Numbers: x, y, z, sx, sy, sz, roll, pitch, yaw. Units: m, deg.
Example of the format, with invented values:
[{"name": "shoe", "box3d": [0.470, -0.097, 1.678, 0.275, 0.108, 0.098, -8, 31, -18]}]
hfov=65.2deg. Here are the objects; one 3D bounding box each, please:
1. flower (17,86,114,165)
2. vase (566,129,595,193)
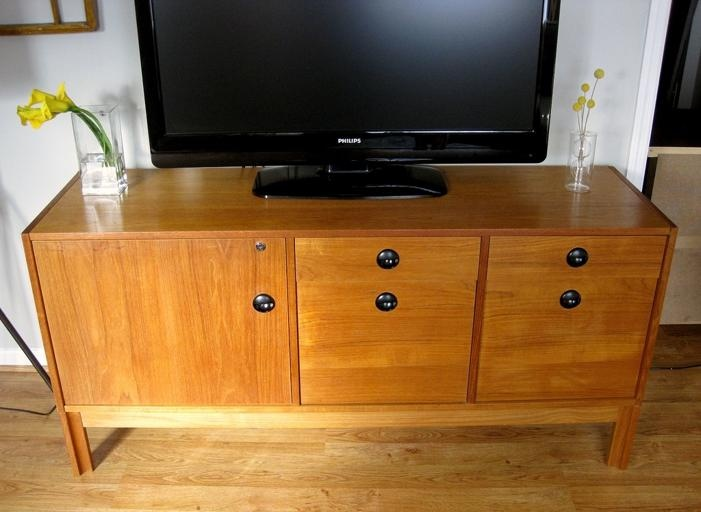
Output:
[{"name": "flower", "box3d": [-0.800, -0.360, 1.556, 0.236, 0.205, 0.139, -8, -3, -39]}, {"name": "vase", "box3d": [0.694, -0.284, 1.650, 0.084, 0.170, 0.116, 9, 31, 16]}]
